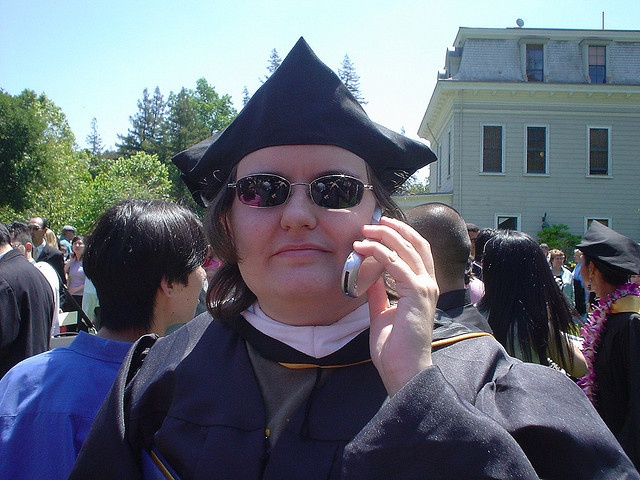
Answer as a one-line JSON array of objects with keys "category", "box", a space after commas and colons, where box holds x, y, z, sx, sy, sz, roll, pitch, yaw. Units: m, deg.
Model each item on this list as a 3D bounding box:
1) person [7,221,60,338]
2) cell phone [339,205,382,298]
[{"category": "person", "box": [-2.945, 0.460, 6.024, 0.375, 1.326, 0.404, -15, 26, -30]}, {"category": "cell phone", "box": [0.185, 0.115, 2.392, 0.058, 0.224, 0.148, 19, -1, -13]}]
